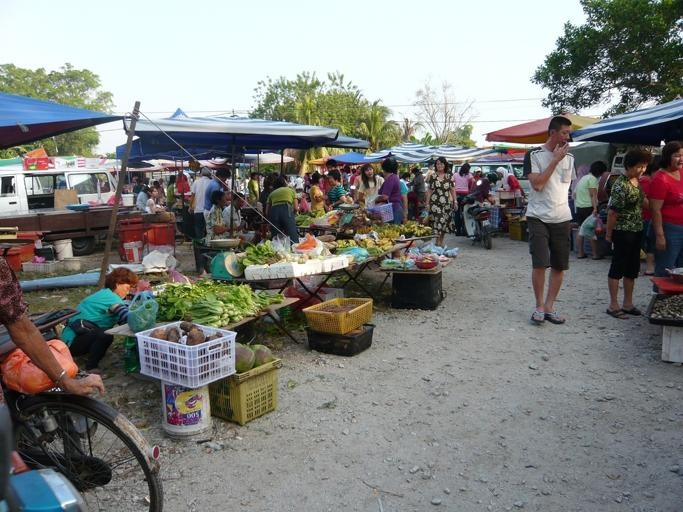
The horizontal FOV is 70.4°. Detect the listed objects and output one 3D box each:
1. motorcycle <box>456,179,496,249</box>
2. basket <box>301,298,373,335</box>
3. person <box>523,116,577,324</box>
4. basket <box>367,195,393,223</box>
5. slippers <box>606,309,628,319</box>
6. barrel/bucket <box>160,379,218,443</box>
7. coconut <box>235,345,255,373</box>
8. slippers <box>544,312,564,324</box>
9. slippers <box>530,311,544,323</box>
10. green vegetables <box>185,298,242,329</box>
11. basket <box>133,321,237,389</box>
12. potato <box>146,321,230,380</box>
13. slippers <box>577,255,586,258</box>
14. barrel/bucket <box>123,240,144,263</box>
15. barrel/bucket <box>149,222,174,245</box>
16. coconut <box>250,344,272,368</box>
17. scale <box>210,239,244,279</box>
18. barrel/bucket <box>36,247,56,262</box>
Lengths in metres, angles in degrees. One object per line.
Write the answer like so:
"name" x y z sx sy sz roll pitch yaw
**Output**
"motorcycle" 3.327 -1.073 11.885 0.817 1.639 1.707 3 15 16
"basket" -0.010 0.682 5.401 0.570 0.356 0.691 4 14 22
"person" 2.532 -0.463 5.830 0.840 2.387 0.994 -2 -3 40
"basket" 0.710 -0.842 8.819 0.475 0.465 1.045 -1 13 4
"slippers" 3.384 0.707 5.948 0.114 0.059 0.210 -7 8 -37
"barrel/bucket" -1.134 1.131 3.704 0.489 0.404 0.430 1 8 10
"coconut" -0.789 0.831 3.948 0.195 0.192 0.187 1 -8 -8
"slippers" 2.564 0.751 5.900 0.106 0.085 0.259 -10 11 -39
"slippers" 2.378 0.741 5.882 0.151 0.086 0.368 -1 3 17
"green vegetables" -1.129 0.461 4.424 0.573 0.230 0.454 9 13 30
"basket" -1.135 0.753 3.553 0.457 0.519 0.323 3 10 29
"potato" -1.187 0.726 3.719 0.728 0.336 0.552 -4 11 -34
"slippers" 4.809 0.018 9.689 0.194 0.061 0.059 -3 7 -20
"barrel/bucket" -4.258 -0.094 9.868 0.517 0.430 0.493 1 6 0
"barrel/bucket" -3.827 -0.448 10.292 0.639 0.514 0.474 -2 1 -44
"coconut" -0.673 0.812 4.065 0.182 0.151 0.191 21 15 -13
"scale" -1.346 0.050 5.626 0.374 0.380 0.353 2 1 10
"barrel/bucket" -6.277 -0.039 10.212 0.324 0.252 0.181 4 29 -6
